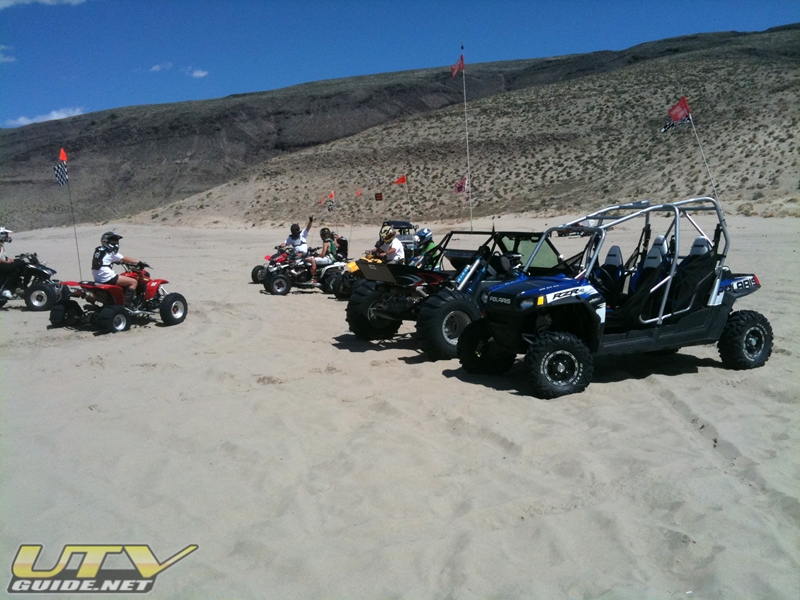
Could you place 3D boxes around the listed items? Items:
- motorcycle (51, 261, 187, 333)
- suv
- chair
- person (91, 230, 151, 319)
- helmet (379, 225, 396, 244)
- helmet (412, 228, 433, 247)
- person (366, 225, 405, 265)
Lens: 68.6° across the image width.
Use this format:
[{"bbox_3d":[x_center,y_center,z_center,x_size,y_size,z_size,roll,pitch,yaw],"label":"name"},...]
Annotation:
[{"bbox_3d":[-5.318,-0.042,11.400,1.456,1.180,2.110,8,11,41],"label":"motorcycle"},{"bbox_3d":[2.158,-0.222,8.363,5.313,2.387,3.136,6,13,33],"label":"suv"},{"bbox_3d":[3.425,-0.296,8.097,1.648,1.032,1.154,-6,8,-16],"label":"chair"},{"bbox_3d":[-5.260,-0.511,10.947,0.777,1.454,0.518,-4,12,-16],"label":"person"},{"bbox_3d":[-0.277,-1.162,10.503,0.345,0.285,0.259,10,-4,-21],"label":"helmet"},{"bbox_3d":[0.407,-1.112,10.303,0.336,0.283,0.250,1,6,5],"label":"helmet"},{"bbox_3d":[-0.298,-0.975,10.575,0.876,0.682,0.569,-11,25,-24],"label":"person"}]
